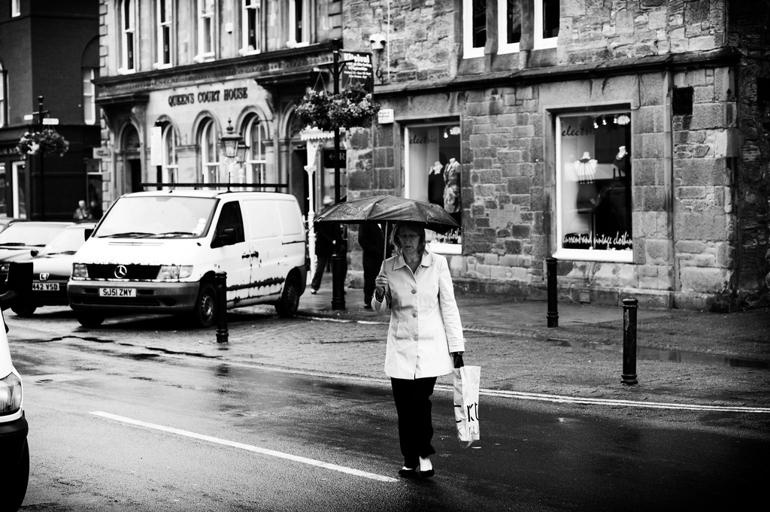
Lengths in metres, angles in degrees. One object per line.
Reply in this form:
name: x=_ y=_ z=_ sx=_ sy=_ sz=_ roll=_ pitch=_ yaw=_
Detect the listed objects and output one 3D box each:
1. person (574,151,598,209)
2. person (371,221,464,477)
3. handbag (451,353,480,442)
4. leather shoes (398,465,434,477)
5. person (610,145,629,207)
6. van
person: x=4.579 y=-1.673 z=23.527 sx=0.142 sy=1.324 sz=0.614 roll=-4 pitch=7 yaw=-36
person: x=0.375 y=0.947 z=10.949 sx=0.753 sy=2.540 sz=0.817 roll=-3 pitch=6 yaw=-29
handbag: x=0.855 y=1.561 z=10.768 sx=0.260 sy=0.863 sz=0.348 roll=0 pitch=6 yaw=1
leather shoes: x=0.323 y=2.215 z=10.680 sx=0.260 sy=0.074 sz=0.146 roll=5 pitch=0 yaw=9
person: x=5.229 y=-1.766 z=22.794 sx=0.128 sy=1.289 sz=0.485 roll=-3 pitch=6 yaw=-24
van: x=-3.638 y=0.006 z=20.982 sx=2.319 sy=2.064 sz=4.204 roll=-3 pitch=-6 yaw=24
